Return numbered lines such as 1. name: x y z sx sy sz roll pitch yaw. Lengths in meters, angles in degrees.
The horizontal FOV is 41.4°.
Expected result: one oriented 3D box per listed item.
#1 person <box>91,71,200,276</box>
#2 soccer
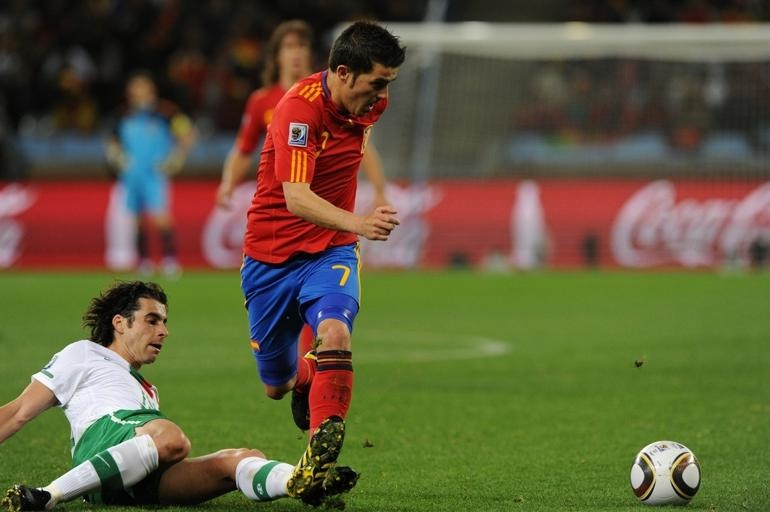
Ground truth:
1. person: -3.584 -1.180 15.645 0.954 3.073 1.274 2 10 16
2. soccer: 1.967 1.527 7.145 0.479 0.394 0.272 2 10 12
